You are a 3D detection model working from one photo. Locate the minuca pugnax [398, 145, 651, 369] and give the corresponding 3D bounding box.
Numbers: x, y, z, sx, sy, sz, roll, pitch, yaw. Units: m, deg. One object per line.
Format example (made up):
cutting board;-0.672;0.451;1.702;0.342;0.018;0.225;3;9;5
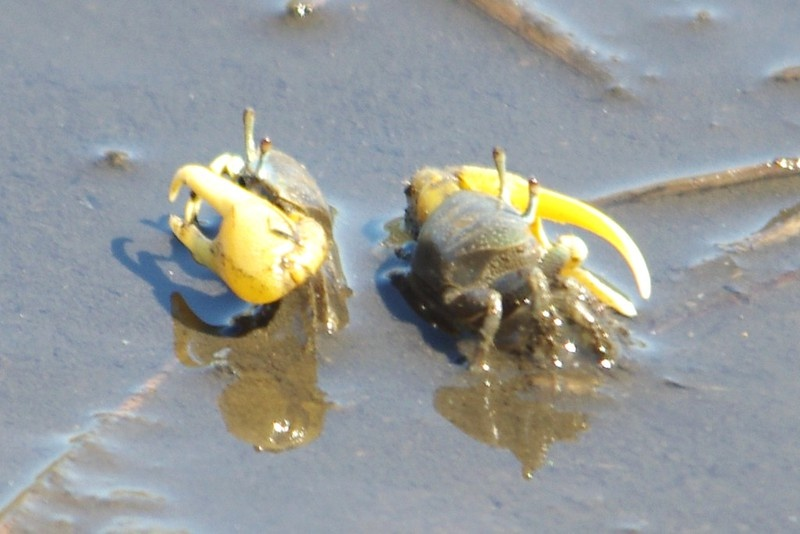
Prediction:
minuca pugnax;0.845;0.000;7.690;0.845;1.016;1.478;-20;40;-28
